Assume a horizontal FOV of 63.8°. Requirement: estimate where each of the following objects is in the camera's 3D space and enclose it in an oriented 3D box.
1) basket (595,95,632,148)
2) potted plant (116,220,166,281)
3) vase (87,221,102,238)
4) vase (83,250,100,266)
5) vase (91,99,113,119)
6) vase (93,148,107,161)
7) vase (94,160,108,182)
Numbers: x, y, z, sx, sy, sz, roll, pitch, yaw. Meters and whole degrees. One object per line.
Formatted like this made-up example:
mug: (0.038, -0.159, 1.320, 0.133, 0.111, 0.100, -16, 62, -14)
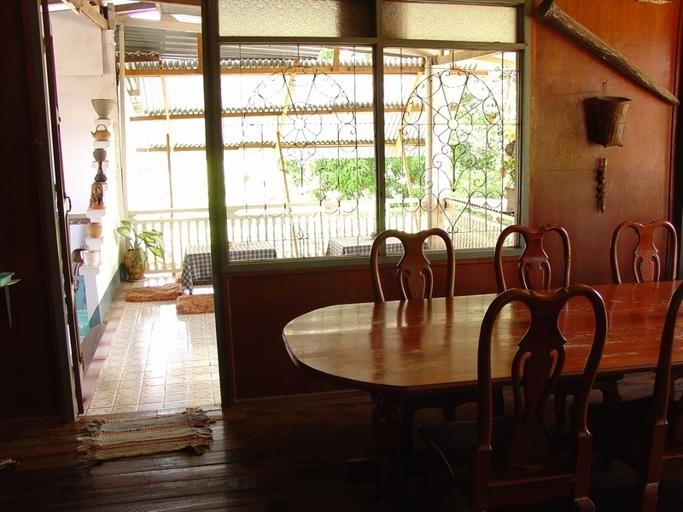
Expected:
basket: (2.051, -1.040, 4.196, 0.217, 0.381, 0.198, 3, 12, 23)
potted plant: (-2.864, -0.123, 7.934, 0.602, 0.871, 0.772, -5, 12, -19)
vase: (-2.777, -0.321, 6.254, 0.158, 0.198, 0.157, -10, 21, -32)
vase: (-2.750, 0.017, 6.120, 0.148, 0.145, 0.165, 3, 11, 9)
vase: (-2.930, -1.838, 6.769, 0.227, 0.268, 0.402, -7, 13, -25)
vase: (-2.912, -1.233, 6.644, 0.137, 0.137, 0.138, 1, 6, -21)
vase: (-2.916, -1.026, 6.666, 0.130, 0.255, 0.310, -6, 12, -24)
